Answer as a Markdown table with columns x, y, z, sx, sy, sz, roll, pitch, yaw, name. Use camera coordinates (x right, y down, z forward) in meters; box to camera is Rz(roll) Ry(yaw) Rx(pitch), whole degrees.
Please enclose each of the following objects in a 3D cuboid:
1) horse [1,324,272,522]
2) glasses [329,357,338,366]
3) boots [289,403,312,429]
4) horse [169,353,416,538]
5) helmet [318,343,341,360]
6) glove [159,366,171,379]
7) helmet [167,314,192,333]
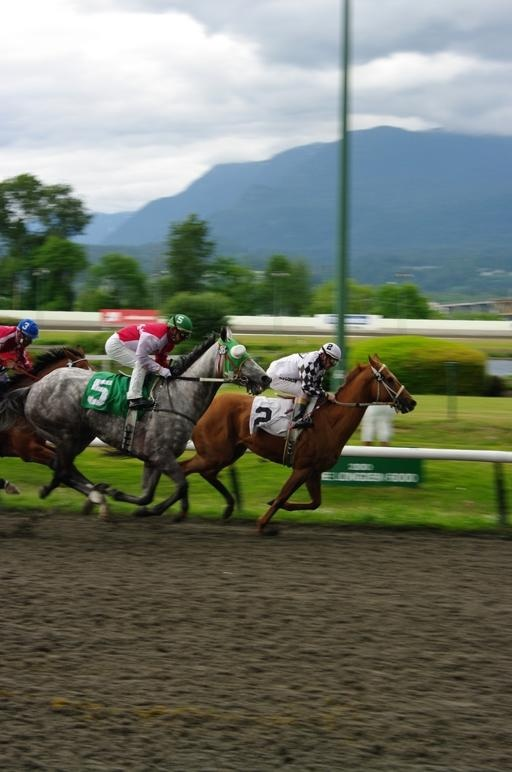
| x | y | z | sx | sy | sz | roll | pitch | yaw | name |
| --- | --- | --- | --- | --- | --- | --- | --- | --- | --- |
| -0.664 | 0.208 | 4.814 | 1.383 | 1.091 | 0.430 | 1 | 6 | 0 | horse |
| 0.436 | -0.138 | 4.859 | 0.051 | 0.032 | 0.040 | 4 | -7 | 23 | glasses |
| 0.251 | 0.164 | 4.718 | 0.124 | 0.145 | 0.089 | -1 | 6 | -21 | boots |
| 0.121 | 0.339 | 4.953 | 1.669 | 0.891 | 0.372 | -1 | -10 | 27 | horse |
| 0.429 | -0.198 | 4.894 | 0.117 | 0.095 | 0.184 | 2 | 5 | 3 | helmet |
| -0.511 | -0.081 | 4.757 | 0.066 | 0.055 | 0.024 | 5 | -7 | -24 | glove |
| -0.415 | -0.355 | 4.836 | 0.105 | 0.103 | 0.140 | 36 | 26 | 31 | helmet |
